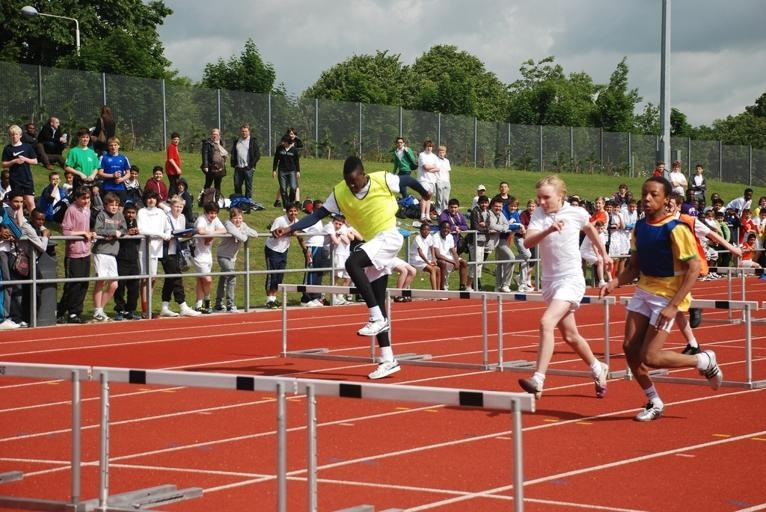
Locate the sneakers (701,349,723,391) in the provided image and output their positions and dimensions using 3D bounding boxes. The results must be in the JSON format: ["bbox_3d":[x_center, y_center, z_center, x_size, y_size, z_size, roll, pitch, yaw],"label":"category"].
[{"bbox_3d":[4.281,1.537,14.040,0.259,0.589,0.220,-27,26,-12],"label":"sneakers"}]

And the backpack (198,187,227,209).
[{"bbox_3d":[-4.219,-1.425,26.121,0.790,0.371,0.906,2,-2,-1],"label":"backpack"}]

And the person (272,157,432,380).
[{"bbox_3d":[-0.199,0.187,15.173,1.149,3.190,1.451,4,6,44],"label":"person"}]

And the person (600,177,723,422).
[{"bbox_3d":[3.424,0.548,13.162,1.095,3.003,0.743,1,4,11],"label":"person"}]

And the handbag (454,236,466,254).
[{"bbox_3d":[1.792,-0.259,25.074,0.265,0.355,0.318,-2,-9,-2],"label":"handbag"}]

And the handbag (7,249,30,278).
[{"bbox_3d":[-6.527,0.143,19.169,0.484,0.644,0.291,4,-6,-41],"label":"handbag"}]

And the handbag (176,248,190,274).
[{"bbox_3d":[-3.900,0.072,21.249,0.149,0.499,0.331,4,6,43],"label":"handbag"}]

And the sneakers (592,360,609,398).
[{"bbox_3d":[2.872,1.645,14.150,0.237,0.526,0.183,-3,13,0],"label":"sneakers"}]

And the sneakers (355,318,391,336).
[{"bbox_3d":[-0.142,0.986,14.639,0.537,0.206,0.180,-1,-2,-40],"label":"sneakers"}]
